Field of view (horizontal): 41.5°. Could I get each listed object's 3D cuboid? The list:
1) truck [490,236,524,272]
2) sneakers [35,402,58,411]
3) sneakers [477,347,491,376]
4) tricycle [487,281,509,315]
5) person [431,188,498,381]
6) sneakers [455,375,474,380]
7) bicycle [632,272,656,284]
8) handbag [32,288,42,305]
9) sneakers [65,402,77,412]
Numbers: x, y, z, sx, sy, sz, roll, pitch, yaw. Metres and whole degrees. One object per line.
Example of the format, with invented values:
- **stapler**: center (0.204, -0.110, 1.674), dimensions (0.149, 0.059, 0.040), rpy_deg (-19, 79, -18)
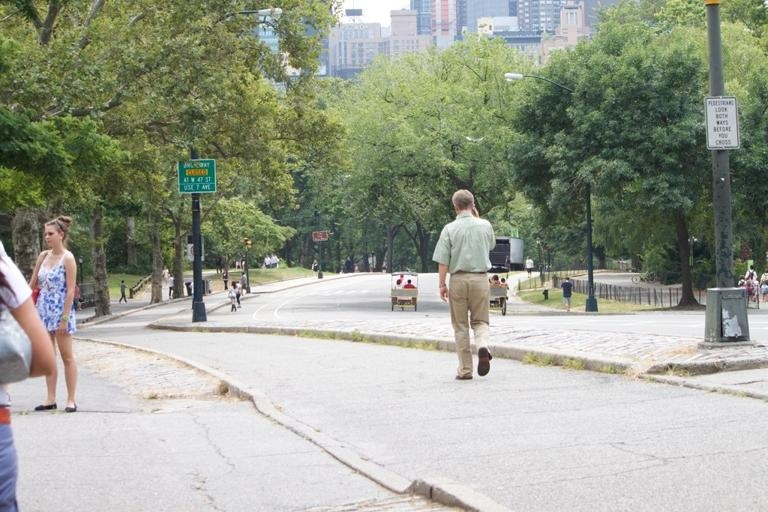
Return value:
- **truck**: center (7.308, -0.116, 60.161), dimensions (1.630, 1.451, 2.948), rpy_deg (0, -1, 12)
- **sneakers**: center (-5.555, 2.472, 16.711), dimensions (0.353, 0.133, 0.131), rpy_deg (0, -4, 15)
- **sneakers**: center (1.767, 1.822, 17.819), dimensions (0.202, 0.522, 0.214), rpy_deg (-2, 15, 2)
- **tricycle**: center (4.222, 1.538, 37.598), dimensions (0.970, 1.283, 2.199), rpy_deg (1, 1, 2)
- **person**: center (1.460, 0.527, 17.832), dimensions (0.984, 3.319, 1.287), rpy_deg (-2, 7, 6)
- **sneakers**: center (1.433, 2.134, 17.952), dimensions (0.210, 0.104, 0.110), rpy_deg (3, 2, 36)
- **bicycle**: center (19.560, 1.572, 75.832), dimensions (1.689, 1.016, 0.844), rpy_deg (2, -5, -29)
- **handbag**: center (-5.551, 0.632, 16.251), dimensions (0.059, 0.240, 0.247), rpy_deg (6, 18, -11)
- **sneakers**: center (-5.152, 2.482, 16.714), dimensions (0.182, 0.120, 0.294), rpy_deg (-5, 7, -18)
